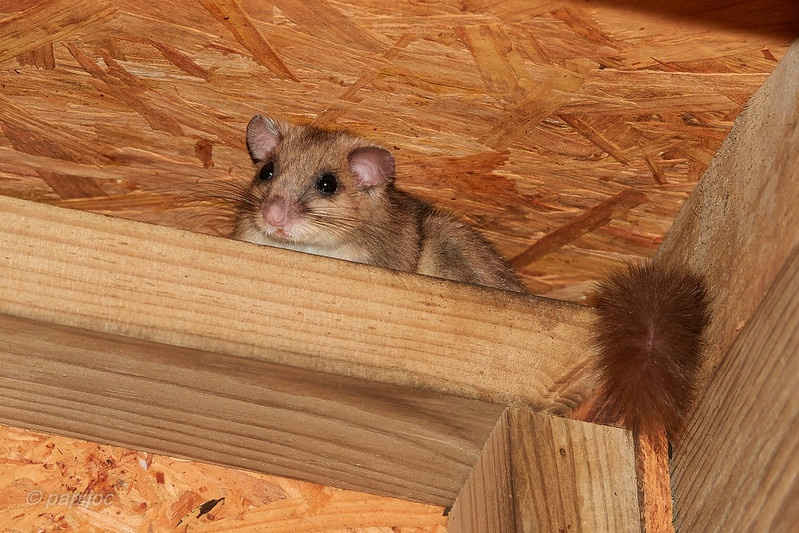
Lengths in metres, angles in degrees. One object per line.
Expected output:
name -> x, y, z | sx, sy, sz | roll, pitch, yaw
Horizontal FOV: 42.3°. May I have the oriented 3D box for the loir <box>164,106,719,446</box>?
loir -> 0.123, -0.189, 4.345 | 0.620, 0.754, 1.979 | 21, 18, 34
